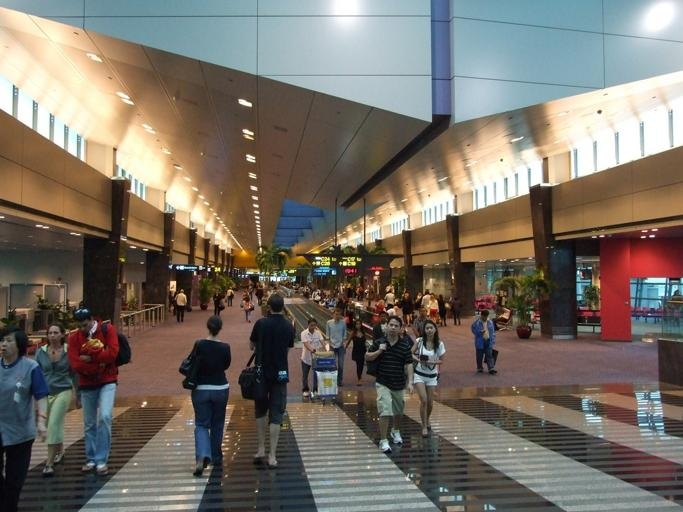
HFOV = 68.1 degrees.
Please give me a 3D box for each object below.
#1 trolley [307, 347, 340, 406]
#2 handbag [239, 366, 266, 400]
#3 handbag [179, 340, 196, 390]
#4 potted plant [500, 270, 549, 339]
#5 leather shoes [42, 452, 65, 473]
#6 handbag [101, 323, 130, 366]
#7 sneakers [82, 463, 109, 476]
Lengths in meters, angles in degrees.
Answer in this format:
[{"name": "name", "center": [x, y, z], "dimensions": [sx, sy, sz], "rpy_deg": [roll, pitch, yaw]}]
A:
[{"name": "trolley", "center": [-0.618, 2.750, 11.591], "dimensions": [1.050, 1.171, 0.721], "rpy_deg": [-2, -13, 43]}, {"name": "handbag", "center": [-1.234, 1.739, 7.044], "dimensions": [0.269, 0.530, 0.513], "rpy_deg": [4, -11, -36]}, {"name": "handbag", "center": [-2.084, 1.542, 6.918], "dimensions": [0.193, 0.553, 0.582], "rpy_deg": [0, -8, -18]}, {"name": "potted plant", "center": [8.436, 2.419, 23.495], "dimensions": [2.415, 3.084, 2.127], "rpy_deg": [-11, -22, 41]}, {"name": "leather shoes", "center": [-3.875, 2.829, 6.925], "dimensions": [0.149, 0.175, 0.451], "rpy_deg": [-1, -9, -7]}, {"name": "handbag", "center": [-3.180, 1.237, 7.208], "dimensions": [0.362, 0.634, 0.290], "rpy_deg": [0, -7, -18]}, {"name": "sneakers", "center": [-3.255, 2.839, 6.756], "dimensions": [0.378, 0.179, 0.147], "rpy_deg": [2, 5, 2]}]
